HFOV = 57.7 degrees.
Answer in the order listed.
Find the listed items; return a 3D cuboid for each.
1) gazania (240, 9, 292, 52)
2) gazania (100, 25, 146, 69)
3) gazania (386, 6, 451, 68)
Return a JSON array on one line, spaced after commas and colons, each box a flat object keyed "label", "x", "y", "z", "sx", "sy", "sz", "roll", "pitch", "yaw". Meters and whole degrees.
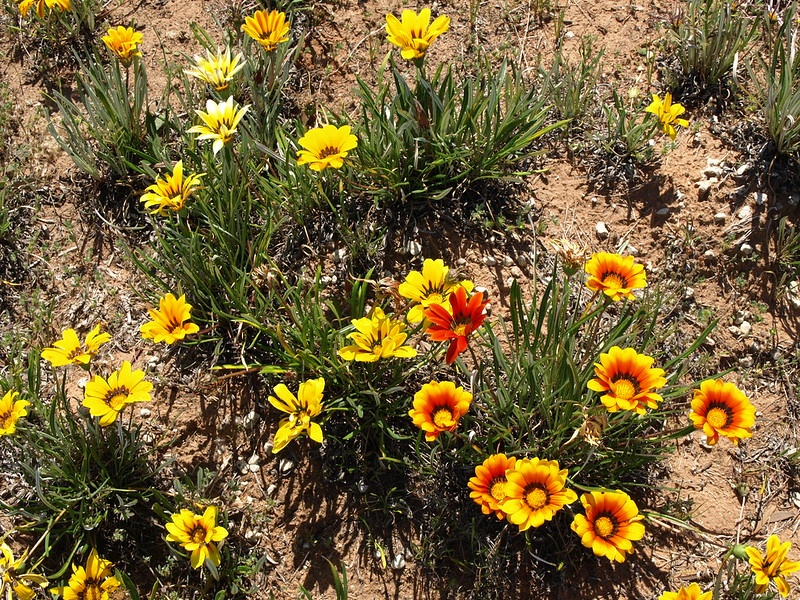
[{"label": "gazania", "x": -0.716, "y": -1.463, "z": 3.874, "sx": 0.251, "sy": 0.267, "sz": 0.135, "roll": 0, "pitch": 100, "yaw": 14}, {"label": "gazania", "x": -1.489, "y": -1.382, "z": 4.003, "sx": 0.206, "sy": 0.197, "sz": 0.210, "roll": 18, "pitch": 97, "yaw": 50}, {"label": "gazania", "x": 0.076, "y": -1.376, "z": 3.717, "sx": 0.277, "sy": 0.199, "sz": 0.327, "roll": -32, "pitch": 65, "yaw": -7}]
